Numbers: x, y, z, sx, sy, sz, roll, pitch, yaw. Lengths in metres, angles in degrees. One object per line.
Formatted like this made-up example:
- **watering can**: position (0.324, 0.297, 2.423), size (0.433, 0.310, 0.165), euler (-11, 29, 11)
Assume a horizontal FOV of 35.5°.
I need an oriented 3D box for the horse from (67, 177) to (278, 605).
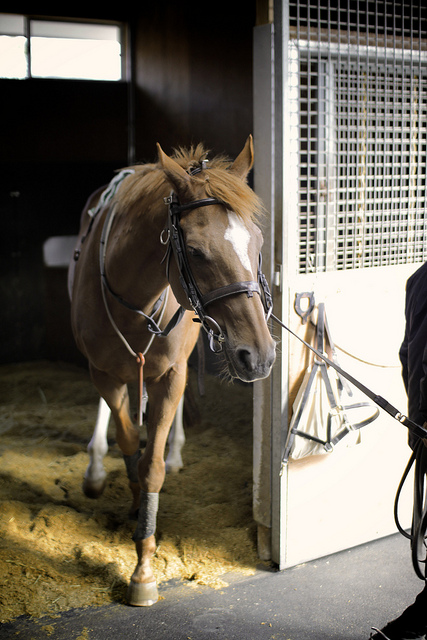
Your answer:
- **horse**: position (-0.185, 0.199, 2.436), size (0.639, 1.427, 1.486), euler (-1, 11, -12)
